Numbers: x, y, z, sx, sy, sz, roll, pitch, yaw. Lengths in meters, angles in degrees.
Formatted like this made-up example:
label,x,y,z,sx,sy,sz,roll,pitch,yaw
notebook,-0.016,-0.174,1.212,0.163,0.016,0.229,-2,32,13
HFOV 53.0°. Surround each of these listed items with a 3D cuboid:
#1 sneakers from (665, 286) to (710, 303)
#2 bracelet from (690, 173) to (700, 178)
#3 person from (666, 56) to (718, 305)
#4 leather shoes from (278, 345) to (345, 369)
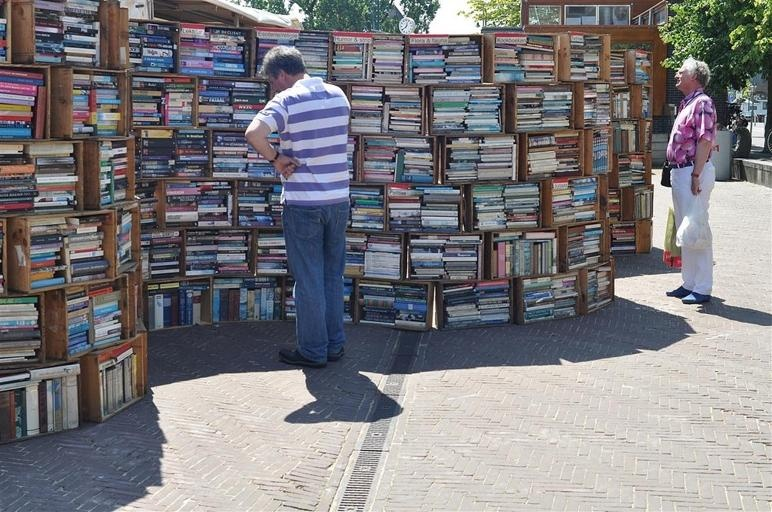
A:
label,x,y,z,sx,sy,sz,roll,pitch,yaw
sneakers,3.813,0.531,9.771,0.264,0.078,0.249,12,6,-27
bracelet,3.726,-0.972,9.444,0.084,0.032,0.088,5,1,9
person,3.761,-0.921,9.689,0.599,3.018,0.681,-1,8,19
leather shoes,-0.778,1.027,7.755,0.613,0.210,0.218,7,9,20
